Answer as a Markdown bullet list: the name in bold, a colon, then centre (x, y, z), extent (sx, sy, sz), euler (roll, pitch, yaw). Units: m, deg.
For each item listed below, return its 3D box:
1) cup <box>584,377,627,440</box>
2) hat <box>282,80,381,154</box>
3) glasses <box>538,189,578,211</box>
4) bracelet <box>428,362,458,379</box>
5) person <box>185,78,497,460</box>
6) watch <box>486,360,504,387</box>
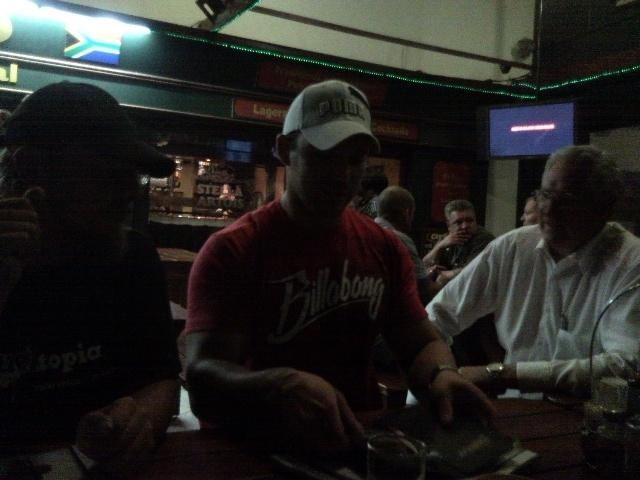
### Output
- **cup**: centre (0.786, 0.462, 1.444), extent (0.103, 0.156, 0.097), euler (2, 3, 0)
- **hat**: centre (0.038, -0.367, 1.598), extent (0.213, 0.152, 0.283), euler (-2, 13, -22)
- **glasses**: centre (0.843, -0.143, 1.868), extent (0.085, 0.022, 0.083), euler (12, -6, 15)
- **bracelet**: centre (0.398, 0.409, 1.676), extent (0.056, 0.049, 0.054), euler (14, -9, -32)
- **person**: centre (0.203, -0.002, 2.128), extent (1.087, 1.472, 1.116), euler (1, 0, -32)
- **watch**: centre (0.635, 0.477, 1.894), extent (0.055, 0.062, 0.067), euler (-5, 25, 18)
